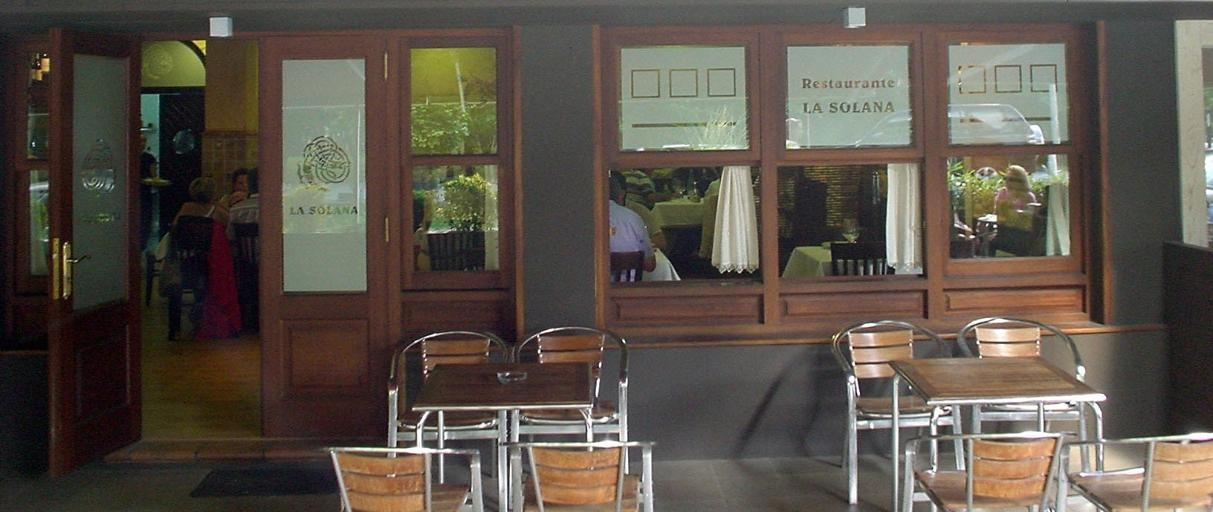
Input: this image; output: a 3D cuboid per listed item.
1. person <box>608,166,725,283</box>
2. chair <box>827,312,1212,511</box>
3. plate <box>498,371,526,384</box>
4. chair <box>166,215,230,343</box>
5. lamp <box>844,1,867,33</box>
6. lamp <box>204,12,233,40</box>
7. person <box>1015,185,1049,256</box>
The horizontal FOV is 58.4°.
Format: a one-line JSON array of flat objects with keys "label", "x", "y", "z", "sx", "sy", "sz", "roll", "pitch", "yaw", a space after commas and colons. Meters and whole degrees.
[{"label": "person", "x": 0.666, "y": -0.335, "z": 13.989, "sx": 1.720, "sy": 1.306, "sz": 0.734, "roll": 1, "pitch": -7, "yaw": -2}, {"label": "chair", "x": 4.108, "y": 1.815, "z": 12.853, "sx": 2.811, "sy": 2.091, "sz": 1.678, "roll": -1, "pitch": 5, "yaw": 7}, {"label": "plate", "x": -1.069, "y": 1.384, "z": 12.450, "sx": 0.221, "sy": 0.065, "sz": 0.150, "roll": -1, "pitch": 2, "yaw": -34}, {"label": "chair", "x": -5.987, "y": 0.314, "z": 16.111, "sx": 1.302, "sy": 1.835, "sz": 0.591, "roll": 2, "pitch": 6, "yaw": 33}, {"label": "lamp", "x": 2.984, "y": -2.906, "z": 13.140, "sx": 0.291, "sy": 0.221, "sz": 0.261, "roll": 0, "pitch": 6, "yaw": -3}, {"label": "lamp", "x": -4.661, "y": -2.785, "z": 13.184, "sx": 0.315, "sy": 0.245, "sz": 0.364, "roll": -3, "pitch": 5, "yaw": -18}, {"label": "person", "x": 5.374, "y": -0.445, "z": 13.570, "sx": 0.322, "sy": 0.853, "sz": 0.133, "roll": -1, "pitch": 5, "yaw": 7}]
